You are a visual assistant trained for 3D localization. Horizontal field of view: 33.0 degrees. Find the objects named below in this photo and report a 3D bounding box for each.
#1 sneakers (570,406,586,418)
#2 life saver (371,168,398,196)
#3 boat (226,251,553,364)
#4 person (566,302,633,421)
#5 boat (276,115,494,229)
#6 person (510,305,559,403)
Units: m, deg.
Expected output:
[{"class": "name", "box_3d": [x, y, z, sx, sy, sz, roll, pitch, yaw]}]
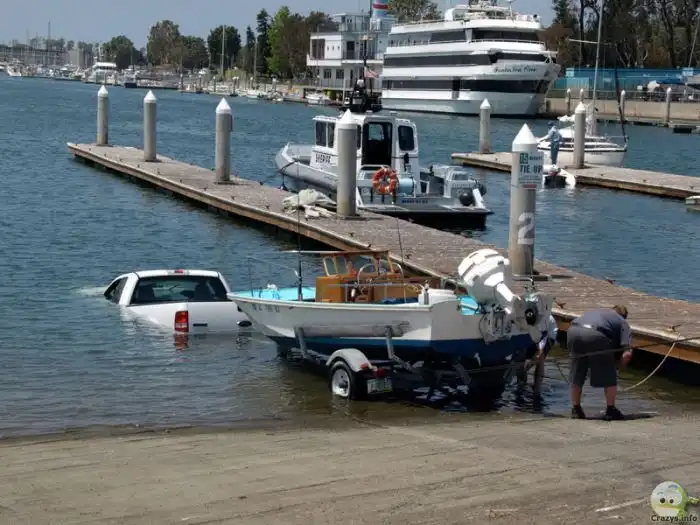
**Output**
[{"class": "sneakers", "box_3d": [3.823, 2.523, 20.081, 0.282, 0.227, 0.163, -2, 2, 6]}, {"class": "life saver", "box_3d": [0.978, -2.290, 33.950, 0.798, 0.680, 0.252, 8, 15, 23]}, {"class": "boat", "box_3d": [0.392, 0.746, 21.616, 5.959, 1.543, 2.042, 3, 5, 44]}, {"class": "person", "box_3d": [4.123, 1.723, 19.915, 1.057, 1.913, 0.669, 5, 16, 11]}, {"class": "boat", "box_3d": [0.868, -2.771, 36.332, 3.439, 1.701, 6.218, -5, 13, -31]}, {"class": "person", "box_3d": [3.320, 1.627, 21.256, 0.561, 1.799, 0.456, 19, 24, 15]}]
